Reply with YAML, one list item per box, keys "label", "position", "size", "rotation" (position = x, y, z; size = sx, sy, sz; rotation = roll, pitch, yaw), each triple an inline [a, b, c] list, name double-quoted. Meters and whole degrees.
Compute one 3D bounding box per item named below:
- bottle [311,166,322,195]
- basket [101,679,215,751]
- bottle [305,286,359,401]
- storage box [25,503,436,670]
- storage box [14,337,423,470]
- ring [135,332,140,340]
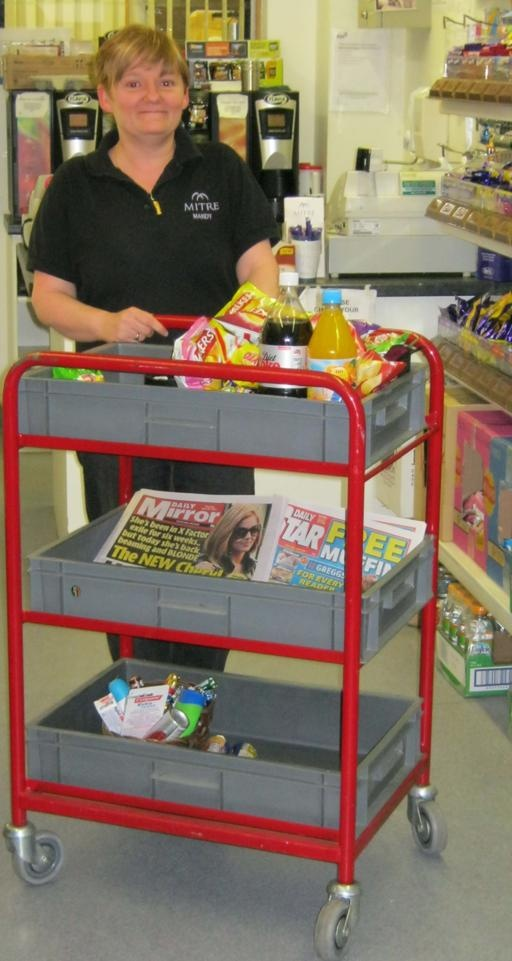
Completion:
- label: "bottle"
  position: [0.261, -1.309, 3.308]
  size: [0.035, 0.113, 0.083]
  rotation: [-1, 17, 1]
- label: "basket"
  position: [-0.188, 0.422, 1.439]
  size: [0.151, 0.111, 0.155]
  rotation: [5, 4, 39]
- label: "bottle"
  position: [0.103, -0.188, 1.022]
  size: [0.070, 0.126, 0.120]
  rotation: [0, 18, 6]
- label: "storage box"
  position: [-0.068, 0.155, 1.297]
  size: [0.677, 0.188, 0.377]
  rotation: [6, 21, 21]
- label: "storage box"
  position: [-0.047, -0.117, 1.163]
  size: [0.645, 0.177, 0.447]
  rotation: [0, 20, 7]
- label: "ring"
  position: [-0.202, -0.248, 1.311]
  size: [0.005, 0.011, 0.010]
  rotation: [1, -11, -1]
